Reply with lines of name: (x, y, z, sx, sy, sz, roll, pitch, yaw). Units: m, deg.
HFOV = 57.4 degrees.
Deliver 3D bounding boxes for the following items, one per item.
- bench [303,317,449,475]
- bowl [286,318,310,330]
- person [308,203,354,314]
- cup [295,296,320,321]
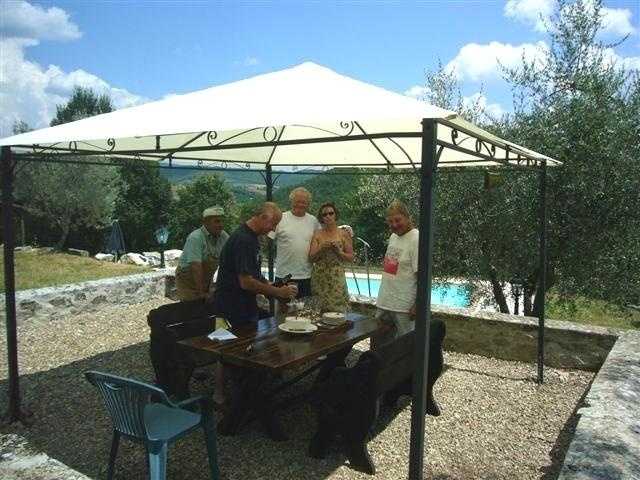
bench: (0.607, 1.742, 7.125, 1.781, 1.646, 1.633, -2, 7, -41)
bowl: (-0.264, 0.996, 6.950, 0.171, 0.094, 0.166, -1, 0, 0)
person: (0.167, 0.250, 8.076, 0.615, 1.505, 0.577, 2, 6, -2)
cup: (-0.145, 0.842, 7.112, 0.242, 0.311, 0.271, 0, -3, -2)
